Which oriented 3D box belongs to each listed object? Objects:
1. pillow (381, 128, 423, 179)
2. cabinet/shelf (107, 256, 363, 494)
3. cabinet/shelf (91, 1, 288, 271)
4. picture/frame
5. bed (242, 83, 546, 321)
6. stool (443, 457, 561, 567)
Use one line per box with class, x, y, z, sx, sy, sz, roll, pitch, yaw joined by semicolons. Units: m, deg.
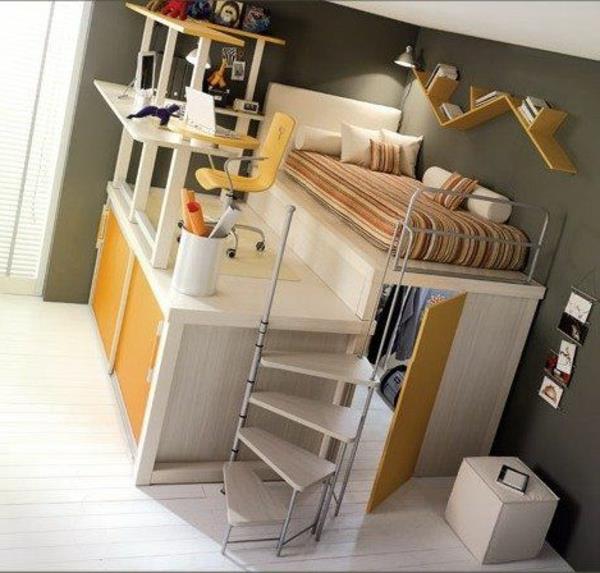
pillow;0.960;-1.233;4.476;0.171;0.382;0.493;-17;31;-33
cabinet/shelf;-0.368;0.449;2.997;1.131;1.197;1.177;1;24;-9
cabinet/shelf;-0.846;-1.125;3.475;0.786;1.593;1.809;0;39;-29
picture/frame;1.570;0.376;2.829;0.025;0.709;0.216;8;16;-16
bed;0.493;-0.765;3.745;1.357;1.233;2.545;-5;24;-20
stool;1.061;1.181;2.589;0.496;0.538;0.536;10;-28;30
